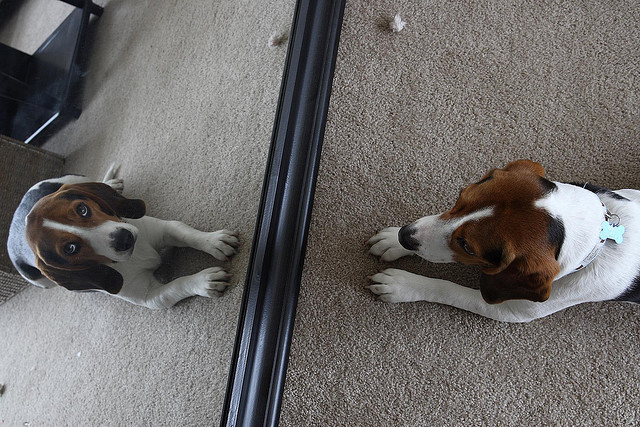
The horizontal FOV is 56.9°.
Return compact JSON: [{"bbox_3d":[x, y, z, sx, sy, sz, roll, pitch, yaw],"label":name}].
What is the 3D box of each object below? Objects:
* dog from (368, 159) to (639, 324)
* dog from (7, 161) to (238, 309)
[{"bbox_3d":[0.600,0.112,1.876,0.859,0.560,0.487,1,81,9],"label":"dog"},{"bbox_3d":[-0.537,0.060,1.527,0.467,0.255,0.258,18,97,37],"label":"dog"}]
